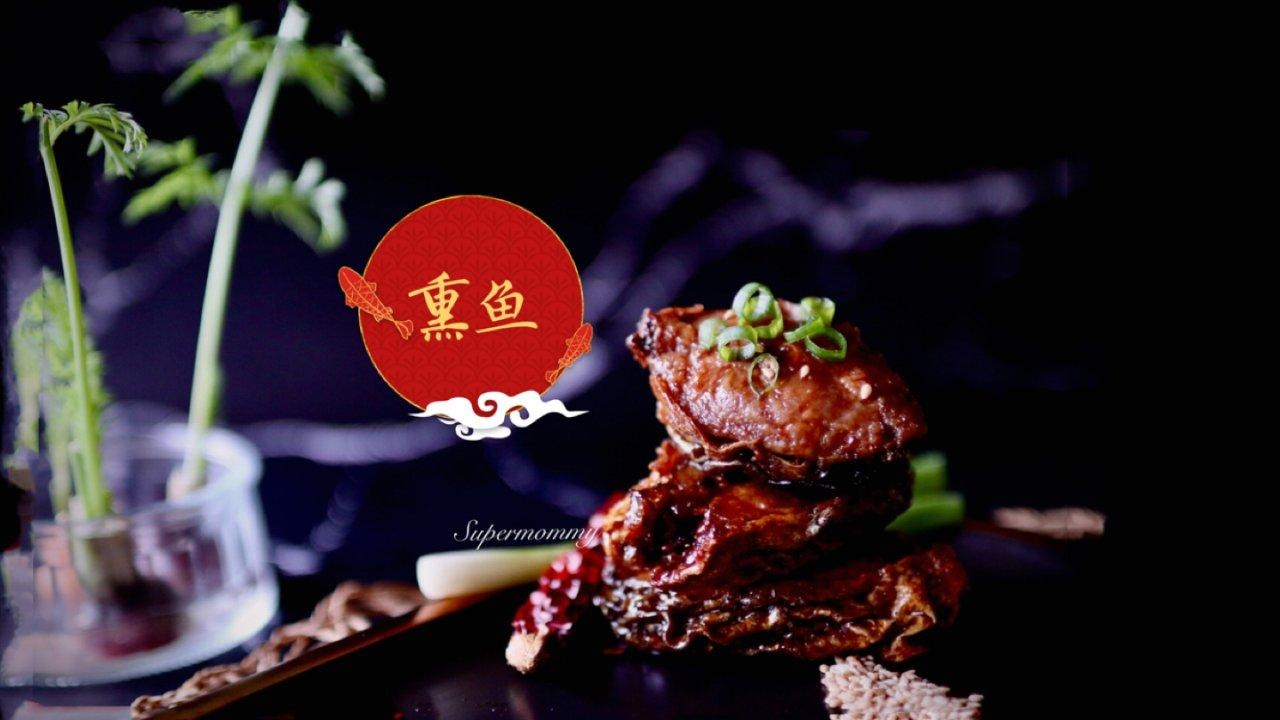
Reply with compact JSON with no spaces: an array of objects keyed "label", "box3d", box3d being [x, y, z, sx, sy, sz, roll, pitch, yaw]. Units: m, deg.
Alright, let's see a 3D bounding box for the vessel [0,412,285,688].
[{"label":"vessel","box3d":[-2.560,1.021,5.372,1.332,1.244,0.435,-6,18,-17]}]
